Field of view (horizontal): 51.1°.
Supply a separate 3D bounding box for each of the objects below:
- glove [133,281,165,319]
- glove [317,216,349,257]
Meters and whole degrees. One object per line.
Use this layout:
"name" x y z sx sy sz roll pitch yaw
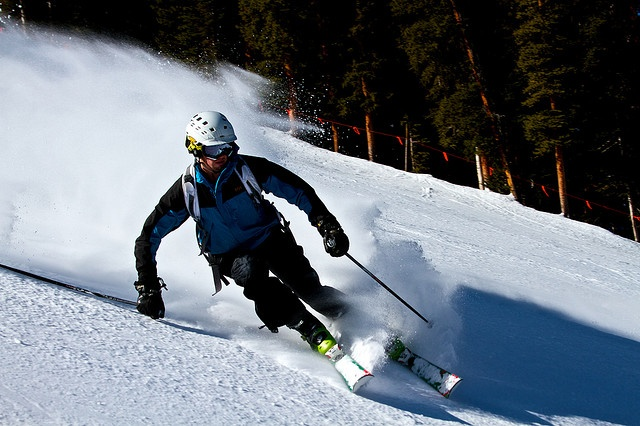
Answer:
"glove" -2.445 1.180 8.991 0.550 0.497 0.342 -9 -10 41
"glove" 0.174 0.341 9.584 0.345 0.621 0.275 -29 -20 -12
